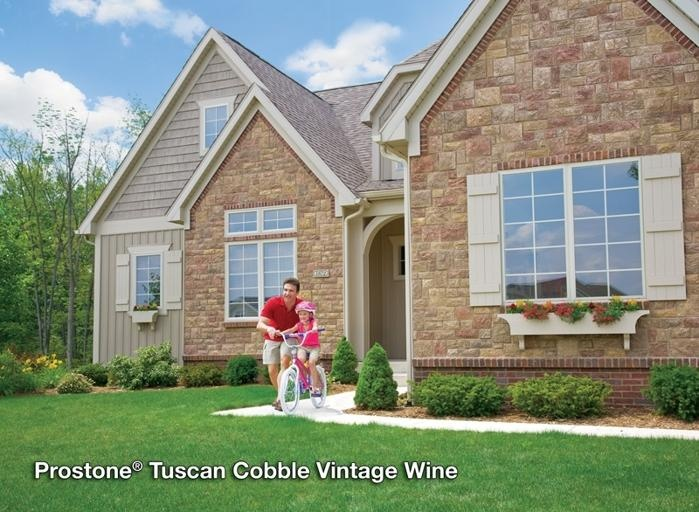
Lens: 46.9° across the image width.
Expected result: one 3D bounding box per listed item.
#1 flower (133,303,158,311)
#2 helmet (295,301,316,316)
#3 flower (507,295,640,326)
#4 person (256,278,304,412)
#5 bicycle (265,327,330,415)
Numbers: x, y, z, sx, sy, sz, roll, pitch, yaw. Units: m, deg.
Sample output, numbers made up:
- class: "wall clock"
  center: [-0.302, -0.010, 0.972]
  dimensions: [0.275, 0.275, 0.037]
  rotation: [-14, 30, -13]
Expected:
- class: "flower"
  center: [-6.184, 1.564, 24.552]
  dimensions: [0.842, 0.251, 0.283]
  rotation: [2, 6, 32]
- class: "helmet"
  center: [-0.874, 1.038, 15.822]
  dimensions: [0.307, 0.276, 0.241]
  rotation: [-2, -1, -24]
- class: "flower"
  center: [4.523, 1.106, 16.193]
  dimensions: [2.495, 0.532, 0.326]
  rotation: [0, 6, 17]
- class: "person"
  center: [-1.371, 1.750, 15.864]
  dimensions: [0.835, 2.604, 1.106]
  rotation: [-2, 5, -4]
- class: "bicycle"
  center: [-1.017, 2.448, 15.931]
  dimensions: [0.881, 1.102, 1.636]
  rotation: [-6, -11, 18]
